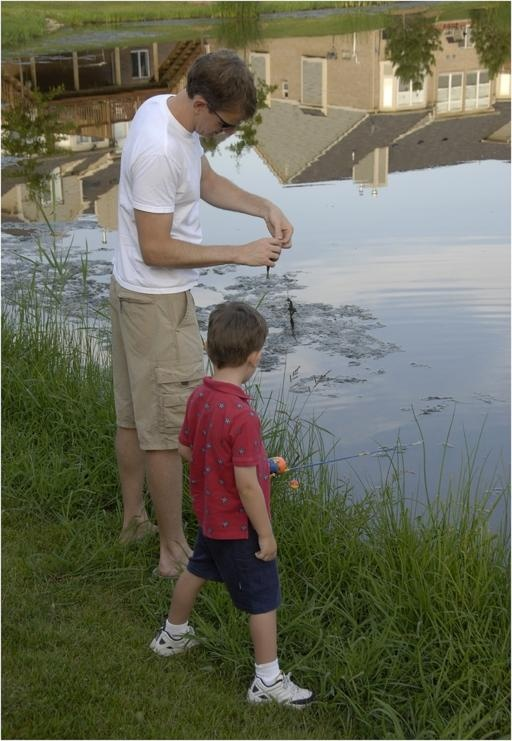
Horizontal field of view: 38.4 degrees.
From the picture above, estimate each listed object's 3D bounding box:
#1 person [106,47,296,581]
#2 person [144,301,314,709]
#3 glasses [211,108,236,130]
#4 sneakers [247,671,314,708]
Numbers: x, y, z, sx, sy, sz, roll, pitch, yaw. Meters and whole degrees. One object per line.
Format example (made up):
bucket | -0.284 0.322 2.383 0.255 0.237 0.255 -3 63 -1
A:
person | -0.219 -0.189 2.636 0.553 1.793 0.620 2 17 -8
person | -0.034 0.359 2.006 0.310 1.055 0.482 -11 19 -42
glasses | -0.094 -0.784 2.248 0.077 0.057 0.178 1 14 3
sneakers | 0.062 0.861 1.963 0.195 0.070 0.087 2 13 9
